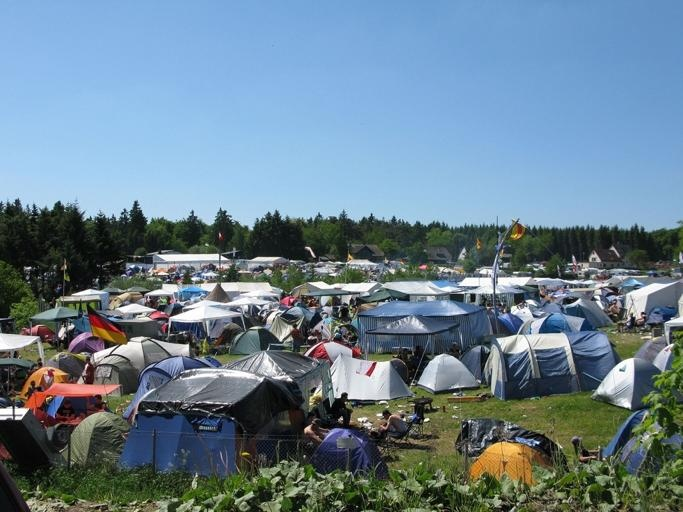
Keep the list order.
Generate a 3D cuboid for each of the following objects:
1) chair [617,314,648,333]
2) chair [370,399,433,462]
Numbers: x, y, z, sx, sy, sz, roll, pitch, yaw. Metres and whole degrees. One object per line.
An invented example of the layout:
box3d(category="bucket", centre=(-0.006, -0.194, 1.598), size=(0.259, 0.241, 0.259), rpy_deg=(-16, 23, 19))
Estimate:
box3d(category="chair", centre=(13.902, 3.238, 37.171), size=(1.359, 0.932, 0.813), rpy_deg=(-4, -2, -4))
box3d(category="chair", centre=(1.389, 4.385, 19.776), size=(0.851, 0.847, 1.295), rpy_deg=(-7, -2, 23))
